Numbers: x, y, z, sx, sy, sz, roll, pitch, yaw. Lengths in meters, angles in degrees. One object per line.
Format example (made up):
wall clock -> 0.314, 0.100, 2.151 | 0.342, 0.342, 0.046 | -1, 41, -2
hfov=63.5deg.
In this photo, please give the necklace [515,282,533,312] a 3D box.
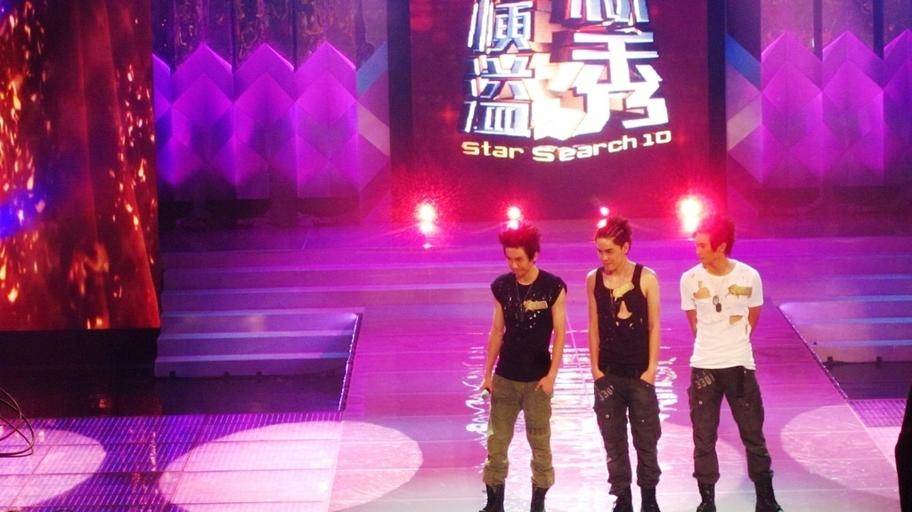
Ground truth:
necklace -> 0.561, 0.332, 6.160 | 0.064, 0.211, 0.158 | -2, -4, -17
